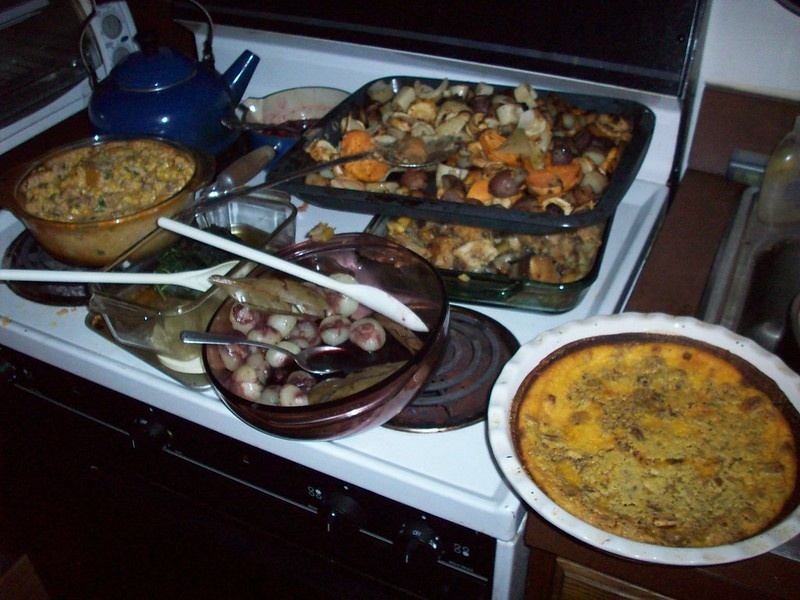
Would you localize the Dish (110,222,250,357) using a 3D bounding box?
[{"bbox_3d":[-0.281,0.023,0.954,0.130,0.218,0.081,60,36,-2],"label":"Dish"}]

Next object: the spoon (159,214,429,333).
[{"bbox_3d":[-0.155,-0.034,0.981,0.455,0.026,0.057,19,62,10],"label":"spoon"}]

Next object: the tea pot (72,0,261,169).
[{"bbox_3d":[-0.422,-0.385,1.341,0.342,0.285,0.305,-10,49,-13],"label":"tea pot"}]

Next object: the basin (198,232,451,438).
[{"bbox_3d":[-0.089,0.052,0.936,0.283,0.088,0.323,22,58,21],"label":"basin"}]

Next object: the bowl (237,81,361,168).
[{"bbox_3d":[-0.218,-0.346,1.403,0.219,0.086,0.181,20,64,24],"label":"bowl"}]

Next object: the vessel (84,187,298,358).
[{"bbox_3d":[-0.301,-0.021,1.105,0.212,0.124,0.343,25,58,20],"label":"vessel"}]

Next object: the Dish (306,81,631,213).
[{"bbox_3d":[0.122,-0.268,1.162,0.438,0.062,0.290,10,58,15],"label":"Dish"}]

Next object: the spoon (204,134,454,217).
[{"bbox_3d":[-0.107,-0.211,1.137,0.411,0.046,0.057,-17,35,1],"label":"spoon"}]

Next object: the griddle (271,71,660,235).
[{"bbox_3d":[0.062,-0.180,1.057,0.489,0.067,0.343,11,52,21],"label":"griddle"}]
